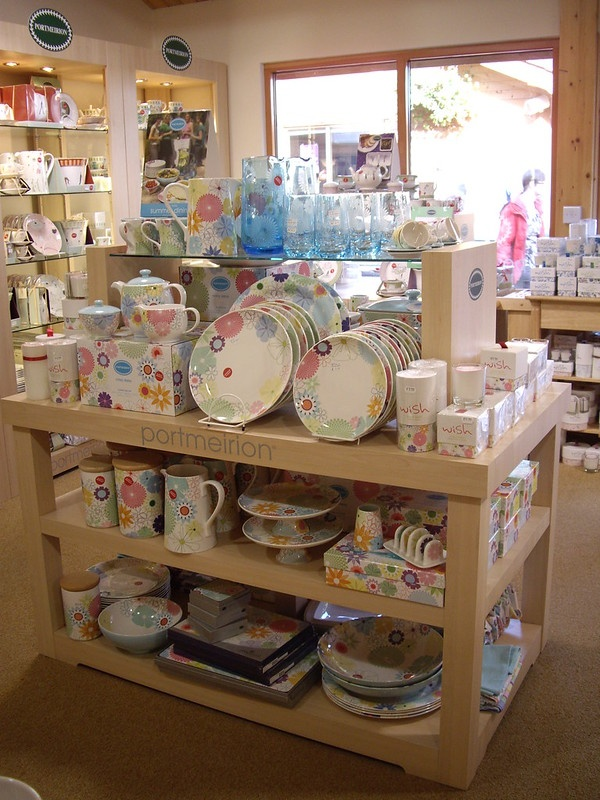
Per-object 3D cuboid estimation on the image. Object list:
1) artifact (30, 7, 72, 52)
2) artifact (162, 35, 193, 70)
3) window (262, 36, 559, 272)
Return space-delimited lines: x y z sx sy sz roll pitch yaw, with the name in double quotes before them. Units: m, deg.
"artifact" -1.308 -1.945 3.272 0.060 0.197 0.287 1 8 17
"artifact" -0.859 -2.364 4.258 0.133 0.197 0.296 1 8 12
"window" 0.790 -1.656 4.797 2.512 1.770 0.107 16 32 35
